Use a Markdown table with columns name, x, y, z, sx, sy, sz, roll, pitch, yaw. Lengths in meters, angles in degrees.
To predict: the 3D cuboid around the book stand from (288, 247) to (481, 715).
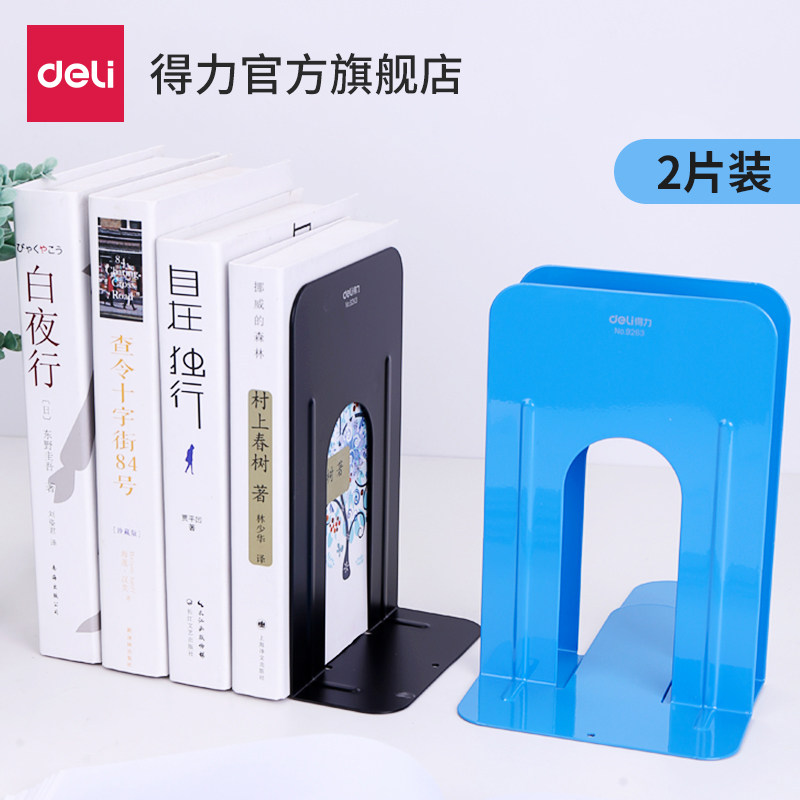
| name | x | y | z | sx | sy | sz | roll | pitch | yaw |
| --- | --- | --- | --- | --- | --- | --- | --- | --- | --- |
| book stand | -0.011 | 0.070 | 0.848 | 0.113 | 0.408 | 0.268 | 5 | 19 | 15 |

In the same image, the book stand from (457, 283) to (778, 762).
| name | x | y | z | sx | sy | sz | roll | pitch | yaw |
| --- | --- | --- | --- | --- | --- | --- | --- | --- | --- |
| book stand | 0.149 | 0.041 | 0.777 | 0.239 | 0.413 | 0.300 | 3 | 11 | 16 |
